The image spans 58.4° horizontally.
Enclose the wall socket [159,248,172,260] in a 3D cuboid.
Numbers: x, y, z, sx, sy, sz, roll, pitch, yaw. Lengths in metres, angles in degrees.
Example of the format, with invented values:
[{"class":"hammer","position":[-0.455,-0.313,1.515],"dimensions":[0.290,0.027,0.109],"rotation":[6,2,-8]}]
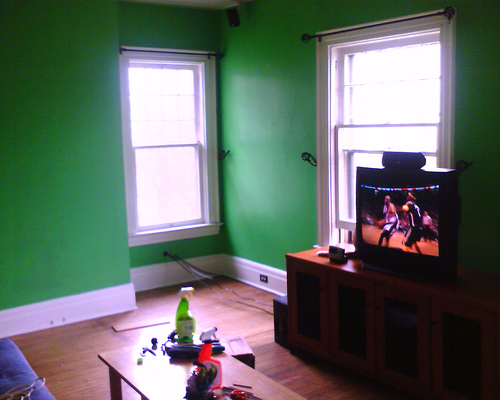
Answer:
[{"class":"wall socket","position":[-0.968,0.617,5.068],"dimensions":[0.155,0.126,0.034],"rotation":[2,7,-17]}]

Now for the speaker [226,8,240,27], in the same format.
[{"class":"speaker","position":[-0.183,-1.932,4.733],"dimensions":[0.119,0.178,0.124],"rotation":[-3,11,-6]}]

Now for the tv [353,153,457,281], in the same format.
[{"class":"tv","position":[1.124,0.106,3.048],"dimensions":[0.474,0.813,0.771],"rotation":[-4,5,-30]}]
